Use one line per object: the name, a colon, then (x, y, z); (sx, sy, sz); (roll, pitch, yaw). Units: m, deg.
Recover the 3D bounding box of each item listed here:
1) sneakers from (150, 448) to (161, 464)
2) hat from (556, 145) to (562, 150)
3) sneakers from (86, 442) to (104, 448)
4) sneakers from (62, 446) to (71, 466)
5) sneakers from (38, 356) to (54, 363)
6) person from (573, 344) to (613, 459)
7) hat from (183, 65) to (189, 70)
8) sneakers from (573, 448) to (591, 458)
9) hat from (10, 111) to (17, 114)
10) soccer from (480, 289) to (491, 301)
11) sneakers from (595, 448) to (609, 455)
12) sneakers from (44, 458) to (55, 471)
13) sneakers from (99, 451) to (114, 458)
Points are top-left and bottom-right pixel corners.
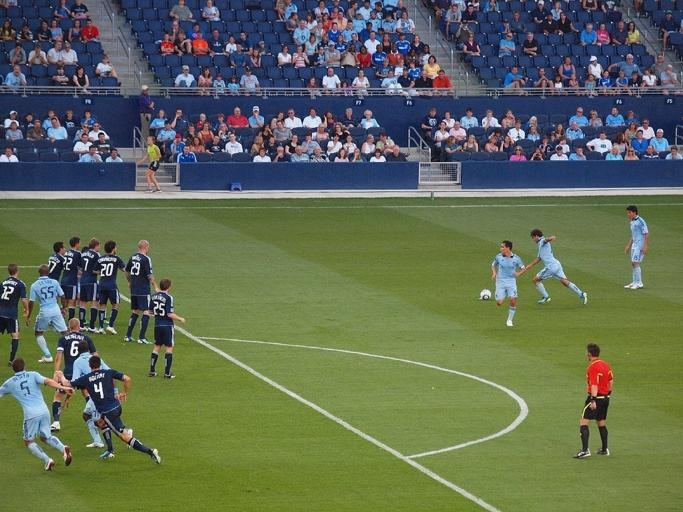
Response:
sneakers: (-5.207, 5.528, 50.658); (0.213, 0.518, 0.176); (1, 26, 35)
hat: (9.456, -4.703, 79.285); (0.273, 0.251, 0.306); (-3, 8, 1)
sneakers: (-7.109, 5.289, 51.893); (0.459, 0.208, 0.166); (4, -3, 0)
sneakers: (-7.689, 5.522, 50.504); (0.197, 0.587, 0.250); (-4, 29, -11)
sneakers: (-9.163, 3.123, 55.941); (0.420, 0.185, 0.166); (3, 26, 5)
person: (7.126, 4.065, 51.480); (0.990, 3.218, 0.680); (-2, 8, 6)
hat: (-6.938, -8.215, 79.924); (0.242, 0.261, 0.471); (-4, 8, -8)
sneakers: (6.839, 5.532, 51.692); (0.557, 0.290, 0.186); (-5, 19, 0)
hat: (-13.982, -6.059, 76.941); (0.298, 0.097, 0.304); (-1, 2, 21)
soccer: (4.938, 1.266, 62.907); (0.420, 0.312, 0.782); (-3, 8, 4)
sneakers: (7.428, 5.513, 51.871); (0.348, 0.152, 0.141); (3, 6, 5)
sneakers: (-8.206, 5.769, 50.753); (0.183, 0.506, 0.216); (-14, 57, -37)
sneakers: (-6.699, 5.541, 51.447); (0.411, 0.193, 0.160); (3, 5, -2)
